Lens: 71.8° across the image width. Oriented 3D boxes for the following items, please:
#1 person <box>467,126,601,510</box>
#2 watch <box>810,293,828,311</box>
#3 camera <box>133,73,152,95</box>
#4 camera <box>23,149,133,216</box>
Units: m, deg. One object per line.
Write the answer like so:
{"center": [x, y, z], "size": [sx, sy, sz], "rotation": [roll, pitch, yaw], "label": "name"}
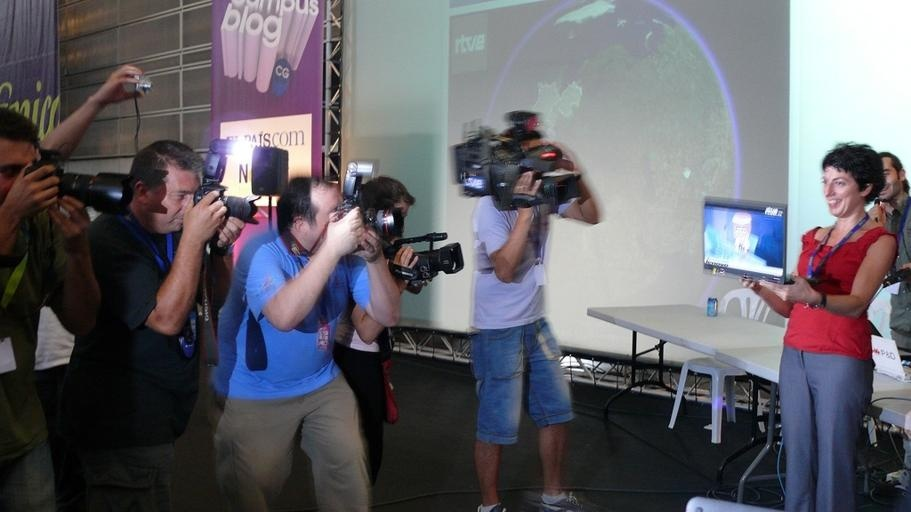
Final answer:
{"center": [0.545, 0.542, 4.702], "size": [0.867, 2.759, 0.601], "rotation": [2, 2, -3], "label": "person"}
{"center": [2.508, 0.320, 4.311], "size": [0.105, 0.049, 0.089], "rotation": [0, 43, 43], "label": "watch"}
{"center": [-2.154, -1.153, 4.321], "size": [0.107, 0.140, 0.290], "rotation": [1, 2, -24], "label": "camera"}
{"center": [-2.251, -0.401, 3.671], "size": [0.622, 0.273, 0.551], "rotation": [2, 6, -44], "label": "camera"}
